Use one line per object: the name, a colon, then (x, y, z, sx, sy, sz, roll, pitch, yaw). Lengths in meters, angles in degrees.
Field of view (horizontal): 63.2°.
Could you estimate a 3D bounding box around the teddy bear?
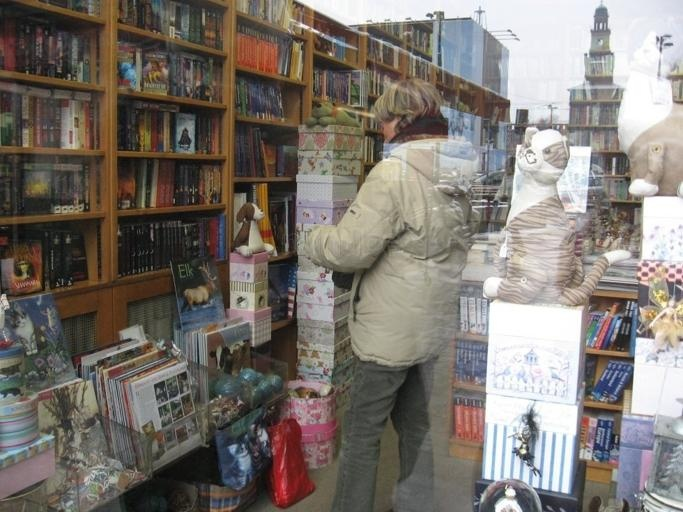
teddy bear: (0.658, -0.116, 1.686, 0.449, 0.554, 0.302, 5, 19, 22)
